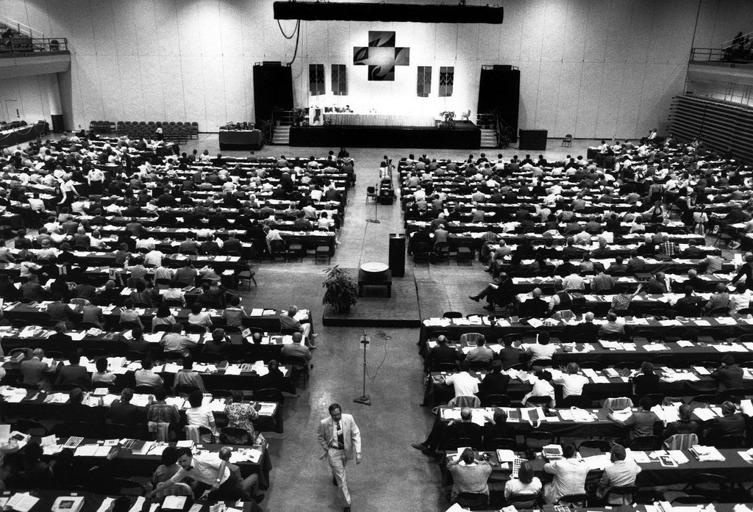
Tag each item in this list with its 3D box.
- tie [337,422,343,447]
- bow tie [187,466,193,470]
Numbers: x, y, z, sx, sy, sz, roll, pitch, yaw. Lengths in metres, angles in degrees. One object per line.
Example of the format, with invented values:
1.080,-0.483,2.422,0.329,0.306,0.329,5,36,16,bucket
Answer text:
-0.824,4.171,13.872,0.155,0.517,0.096,0,17,-4,tie
-4.096,4.677,13.203,0.111,0.110,0.038,-5,18,-21,bow tie
